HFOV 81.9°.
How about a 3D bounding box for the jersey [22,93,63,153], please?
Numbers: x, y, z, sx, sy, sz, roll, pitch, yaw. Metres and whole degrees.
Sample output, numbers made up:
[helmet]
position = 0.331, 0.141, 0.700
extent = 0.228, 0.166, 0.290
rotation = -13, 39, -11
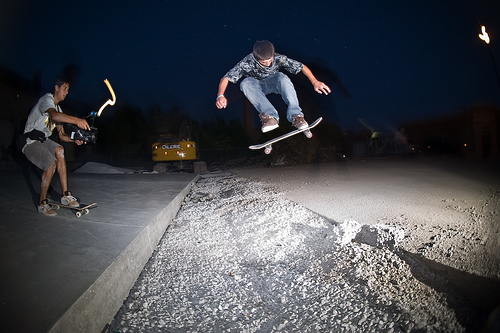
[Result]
[jersey]
position = -2.778, -0.689, 3.836
extent = 0.406, 0.584, 0.351
rotation = -3, 14, -32

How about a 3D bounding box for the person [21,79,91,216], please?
[person]
position = -2.680, -0.306, 3.956
extent = 0.721, 1.760, 1.224
rotation = -5, 15, -38
